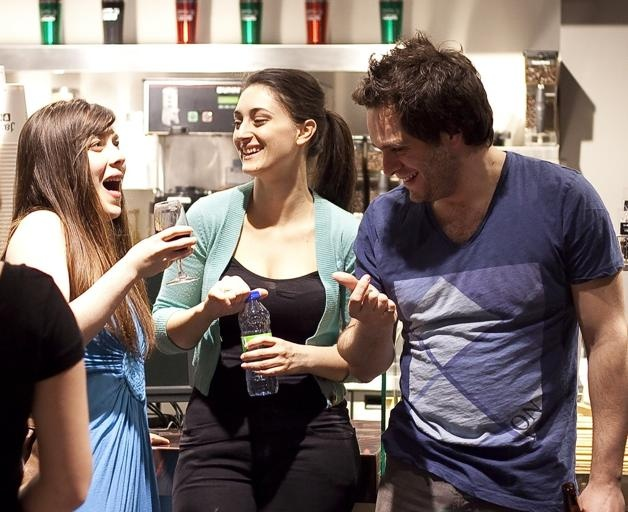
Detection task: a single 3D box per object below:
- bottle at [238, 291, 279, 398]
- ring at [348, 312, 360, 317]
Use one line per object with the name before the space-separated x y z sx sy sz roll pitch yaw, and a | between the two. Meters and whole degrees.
bottle | -0.161 0.253 1.876 0.117 0.336 0.179 0 8 -8
ring | 0.097 0.147 1.650 0.015 0.012 0.015 0 0 0
